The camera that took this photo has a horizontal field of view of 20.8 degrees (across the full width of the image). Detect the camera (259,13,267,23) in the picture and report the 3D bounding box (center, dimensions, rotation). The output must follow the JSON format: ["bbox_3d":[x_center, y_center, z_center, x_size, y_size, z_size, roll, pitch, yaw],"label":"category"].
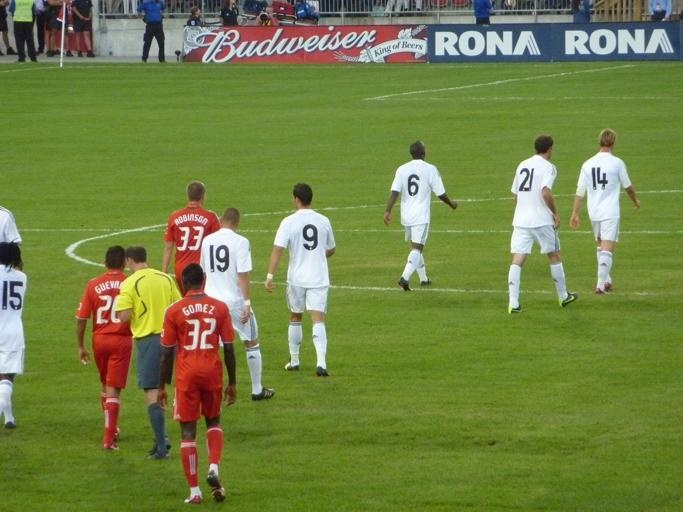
[{"bbox_3d":[-2.943,-8.931,69.272,0.300,0.396,0.279,0,7,12],"label":"camera"}]

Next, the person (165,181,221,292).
[{"bbox_3d":[-3.109,0.094,37.816,1.273,3.239,0.967,2,10,-7],"label":"person"}]

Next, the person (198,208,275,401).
[{"bbox_3d":[-2.080,0.986,36.534,1.446,3.830,1.188,1,1,2],"label":"person"}]
